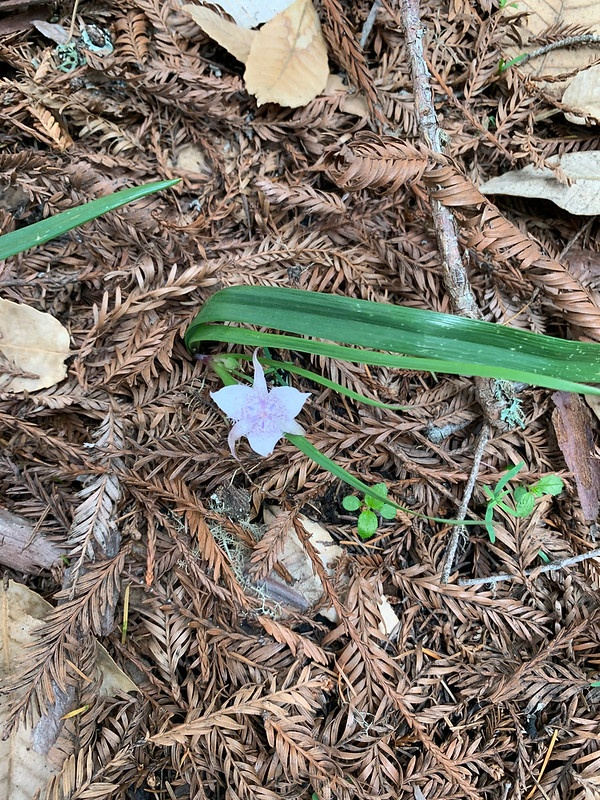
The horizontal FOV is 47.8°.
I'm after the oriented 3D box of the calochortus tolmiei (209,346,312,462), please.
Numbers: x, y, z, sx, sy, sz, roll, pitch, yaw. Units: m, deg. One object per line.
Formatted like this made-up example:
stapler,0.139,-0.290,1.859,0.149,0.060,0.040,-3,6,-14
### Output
calochortus tolmiei,-0.076,0.010,1.279,0.191,0.061,0.219,-9,58,-20
